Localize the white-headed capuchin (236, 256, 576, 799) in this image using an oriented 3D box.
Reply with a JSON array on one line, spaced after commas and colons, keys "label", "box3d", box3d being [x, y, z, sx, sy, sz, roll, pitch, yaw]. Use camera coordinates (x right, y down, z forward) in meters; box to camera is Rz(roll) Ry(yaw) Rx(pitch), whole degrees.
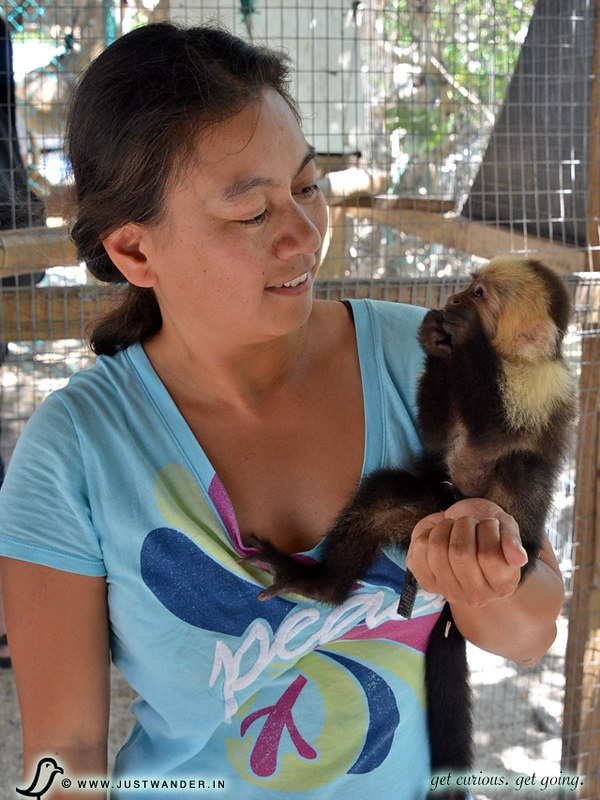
[{"label": "white-headed capuchin", "box3d": [0.205, 0.093, 1.952, 0.755, 1.211, 0.446, -3, 8, -32]}]
